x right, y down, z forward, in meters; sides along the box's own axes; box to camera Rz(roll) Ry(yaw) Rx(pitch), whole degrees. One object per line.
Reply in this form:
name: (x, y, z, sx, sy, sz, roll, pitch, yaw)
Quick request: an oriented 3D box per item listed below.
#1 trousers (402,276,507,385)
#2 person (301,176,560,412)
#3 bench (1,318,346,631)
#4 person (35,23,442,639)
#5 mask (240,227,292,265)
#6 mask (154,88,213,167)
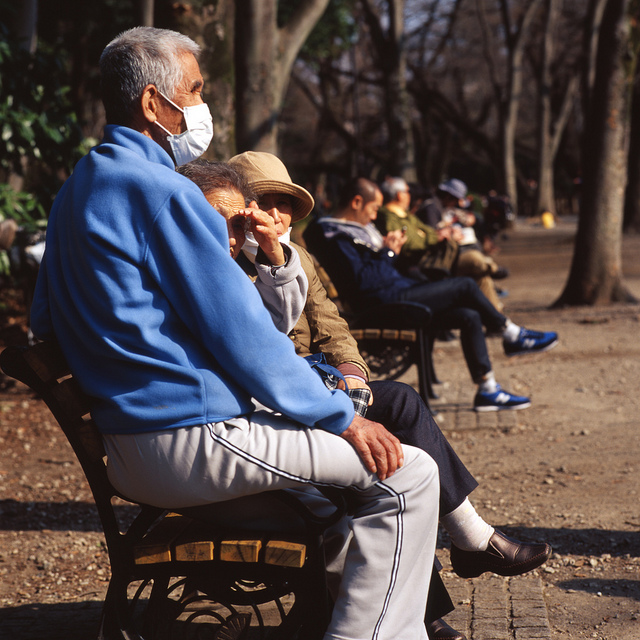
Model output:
trousers: (0.589, 0.052, 5.641, 0.561, 0.492, 0.147, -6, 21, -3)
person: (0.614, -0.139, 6.053, 1.168, 1.048, 0.474, 0, 7, 45)
bench: (-0.453, 0.635, 4.468, 1.101, 1.130, 1.309, -2, 3, -7)
person: (-0.302, 0.056, 3.903, 1.064, 1.860, 0.660, 7, 19, 40)
mask: (-0.197, -0.249, 4.473, 0.114, 0.086, 0.140, 6, 8, 44)
mask: (-0.408, -0.584, 4.030, 0.214, 0.139, 0.176, 11, 13, -12)
